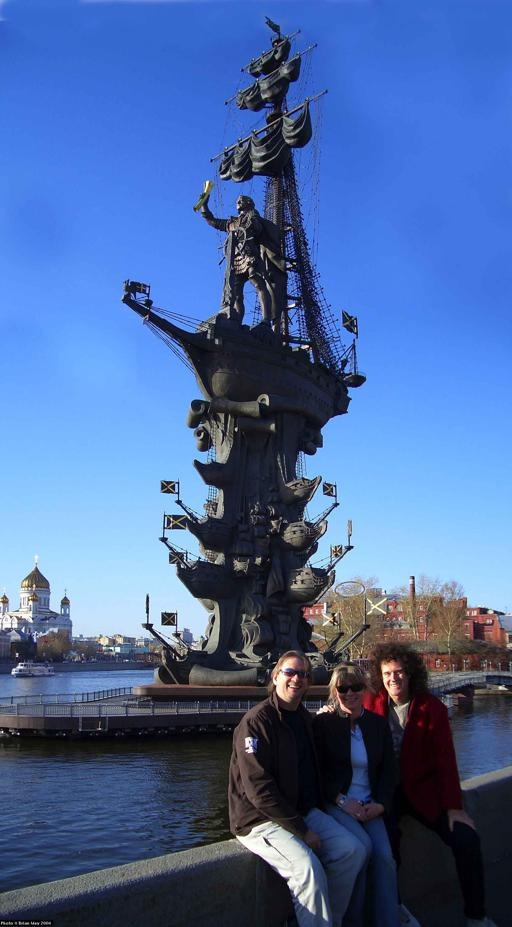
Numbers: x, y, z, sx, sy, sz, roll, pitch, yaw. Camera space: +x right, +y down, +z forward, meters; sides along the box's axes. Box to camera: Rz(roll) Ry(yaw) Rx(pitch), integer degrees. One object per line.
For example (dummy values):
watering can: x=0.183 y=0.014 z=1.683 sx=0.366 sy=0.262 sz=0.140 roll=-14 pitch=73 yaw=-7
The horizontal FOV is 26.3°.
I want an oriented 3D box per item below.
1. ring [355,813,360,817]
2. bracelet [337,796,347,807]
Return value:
ring: x=0.704 y=2.484 z=7.705 sx=0.020 sy=0.040 sz=0.026 roll=10 pitch=-14 yaw=-35
bracelet: x=0.601 y=2.414 z=7.782 sx=0.057 sy=0.062 sz=0.015 roll=-5 pitch=-27 yaw=19
